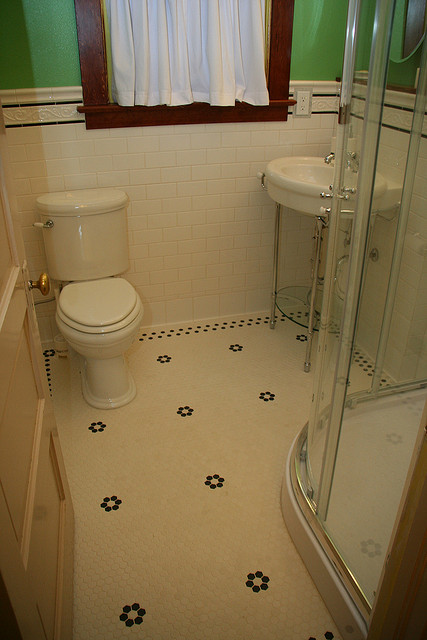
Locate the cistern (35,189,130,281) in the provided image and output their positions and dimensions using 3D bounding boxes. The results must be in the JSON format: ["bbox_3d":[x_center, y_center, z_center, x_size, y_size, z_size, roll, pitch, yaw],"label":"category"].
[{"bbox_3d":[-0.610,-0.424,2.096,0.388,0.395,0.263,-8,38,-19],"label":"cistern"}]

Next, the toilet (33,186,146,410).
[{"bbox_3d":[-0.550,-0.084,2.031,0.352,0.847,0.678,-7,31,-18],"label":"toilet"}]

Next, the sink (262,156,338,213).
[{"bbox_3d":[0.403,-0.634,2.019,0.330,0.102,0.413,1,34,2],"label":"sink"}]
